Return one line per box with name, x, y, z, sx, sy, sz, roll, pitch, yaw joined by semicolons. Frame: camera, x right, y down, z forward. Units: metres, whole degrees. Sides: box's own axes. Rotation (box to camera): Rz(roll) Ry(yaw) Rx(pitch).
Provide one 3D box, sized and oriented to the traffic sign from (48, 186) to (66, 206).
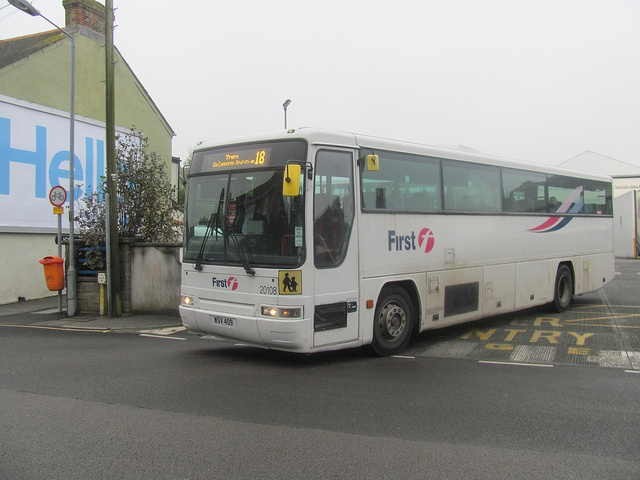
traffic sign;-7.447;-1.240;14.194;0.360;0.524;0.519;-1;-1;-36
